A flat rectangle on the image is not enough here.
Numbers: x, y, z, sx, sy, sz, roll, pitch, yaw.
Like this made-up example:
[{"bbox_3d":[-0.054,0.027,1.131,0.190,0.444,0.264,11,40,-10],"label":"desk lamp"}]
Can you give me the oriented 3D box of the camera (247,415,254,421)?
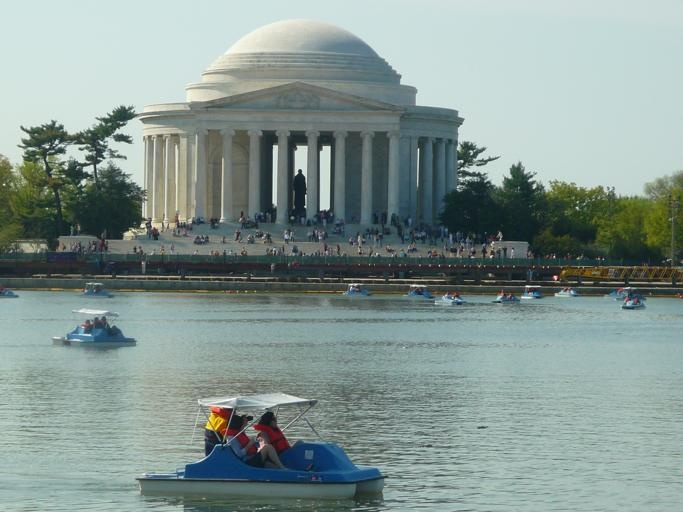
[{"bbox_3d":[-3.731,6.407,73.201,0.175,0.169,0.247,1,-1,9],"label":"camera"}]
